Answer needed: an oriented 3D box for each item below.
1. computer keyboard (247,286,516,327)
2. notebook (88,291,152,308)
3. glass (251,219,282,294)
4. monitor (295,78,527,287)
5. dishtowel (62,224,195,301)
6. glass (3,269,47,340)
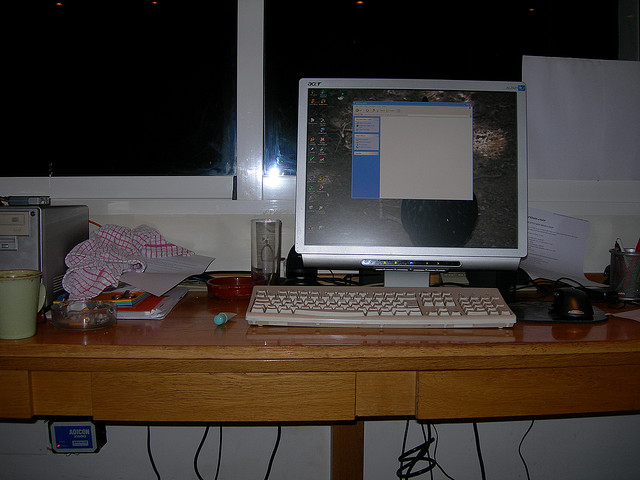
[{"bbox_3d":[0.156,0.175,1.428,0.678,0.078,0.132,0,9,0],"label":"computer keyboard"},{"bbox_3d":[-0.545,0.162,1.466,0.154,0.024,0.130,-1,9,-4],"label":"notebook"},{"bbox_3d":[-0.162,0.043,1.709,0.107,0.204,0.089,0,3,0],"label":"glass"},{"bbox_3d":[0.261,-0.180,1.543,0.707,0.550,0.154,0,4,-3],"label":"monitor"},{"bbox_3d":[-0.601,0.050,1.639,0.200,0.170,0.408,6,11,32],"label":"dishtowel"},{"bbox_3d":[-0.720,0.151,1.324,0.118,0.148,0.117,2,9,-27],"label":"glass"}]
